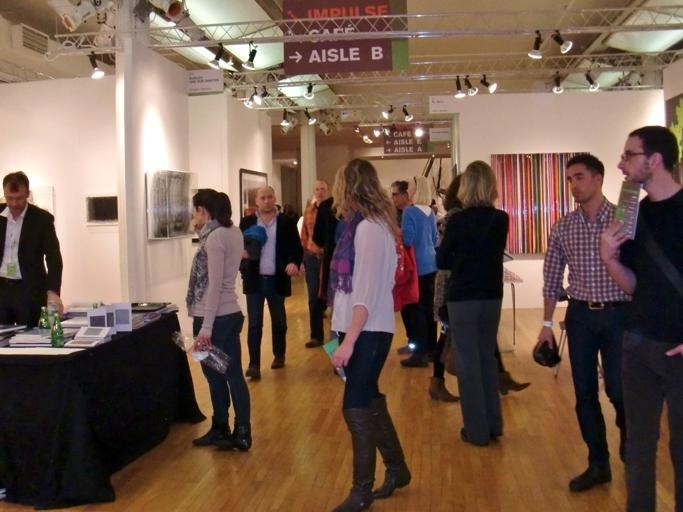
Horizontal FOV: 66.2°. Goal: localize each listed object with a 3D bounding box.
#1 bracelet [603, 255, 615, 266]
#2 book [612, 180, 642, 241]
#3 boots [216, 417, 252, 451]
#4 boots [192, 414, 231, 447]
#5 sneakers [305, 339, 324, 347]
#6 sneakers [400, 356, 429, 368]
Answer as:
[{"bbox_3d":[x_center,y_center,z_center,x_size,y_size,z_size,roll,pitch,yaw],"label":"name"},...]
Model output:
[{"bbox_3d":[1.341,0.030,2.638,0.048,0.041,0.050,1,-6,-6],"label":"bracelet"},{"bbox_3d":[1.378,-0.218,2.551,0.096,0.286,0.194,-1,8,15],"label":"book"},{"bbox_3d":[-0.798,1.394,4.124,0.335,0.259,0.140,2,-1,14],"label":"boots"},{"bbox_3d":[-0.982,1.395,4.191,0.370,0.288,0.153,1,-3,4],"label":"boots"},{"bbox_3d":[-0.369,1.149,6.921,0.260,0.125,0.099,4,-6,-19],"label":"sneakers"},{"bbox_3d":[0.830,1.221,6.047,0.328,0.148,0.124,3,-4,6],"label":"sneakers"}]
